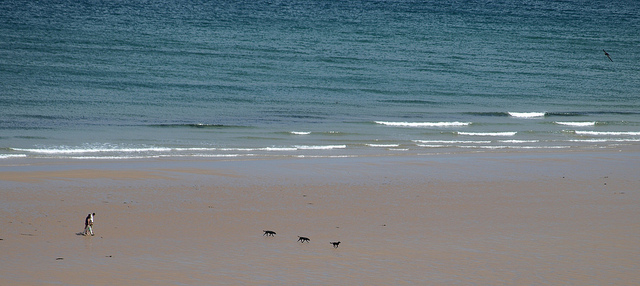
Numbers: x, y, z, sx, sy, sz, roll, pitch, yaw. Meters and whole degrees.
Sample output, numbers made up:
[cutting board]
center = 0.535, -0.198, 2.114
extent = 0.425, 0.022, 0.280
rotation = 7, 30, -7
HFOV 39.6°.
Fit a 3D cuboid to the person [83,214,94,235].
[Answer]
[person]
center = -19.783, 6.987, 75.535
extent = 0.918, 1.710, 0.546
rotation = -1, 4, -1
